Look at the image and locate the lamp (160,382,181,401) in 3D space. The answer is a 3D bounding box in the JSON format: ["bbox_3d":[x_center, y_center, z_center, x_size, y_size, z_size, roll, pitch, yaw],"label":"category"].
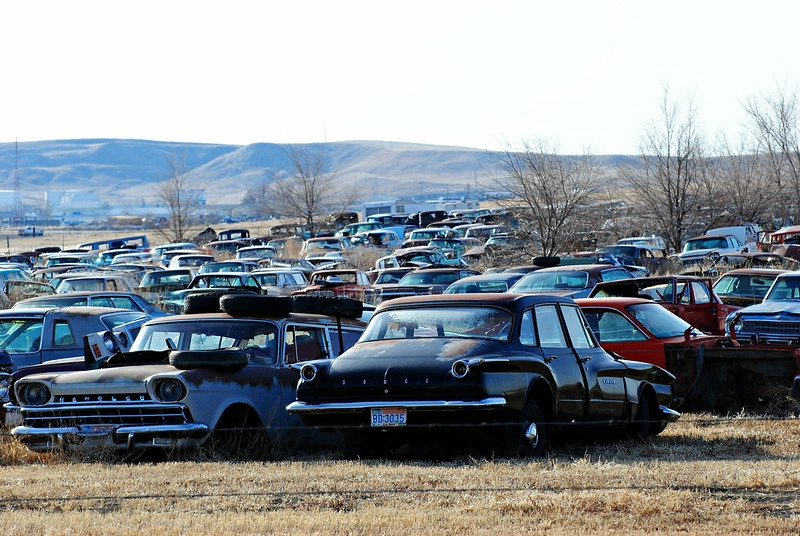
[{"bbox_3d":[-2.805,1.493,11.803,0.231,0.199,0.086,-11,1,-4],"label":"lamp"}]

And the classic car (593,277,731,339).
[{"bbox_3d":[5.399,0.921,19.792,3.497,1.287,1.797,2,-8,-40],"label":"classic car"}]

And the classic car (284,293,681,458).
[{"bbox_3d":[1.312,1.272,12.276,2.178,1.129,3.658,-2,-2,38],"label":"classic car"}]
